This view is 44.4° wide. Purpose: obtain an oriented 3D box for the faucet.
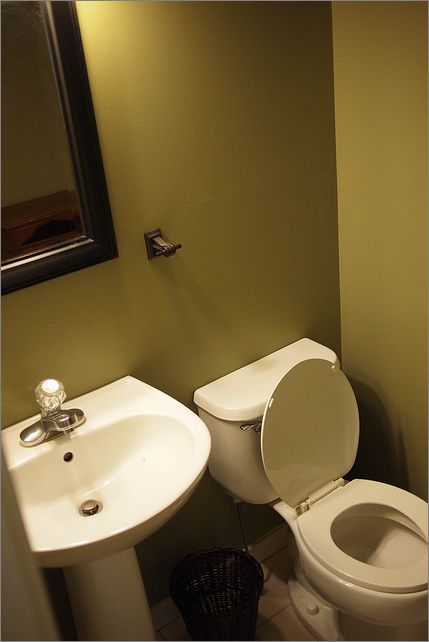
[{"bbox_3d":[-0.396,0.207,1.232,0.156,0.154,0.088,-23,25,-29],"label":"faucet"}]
